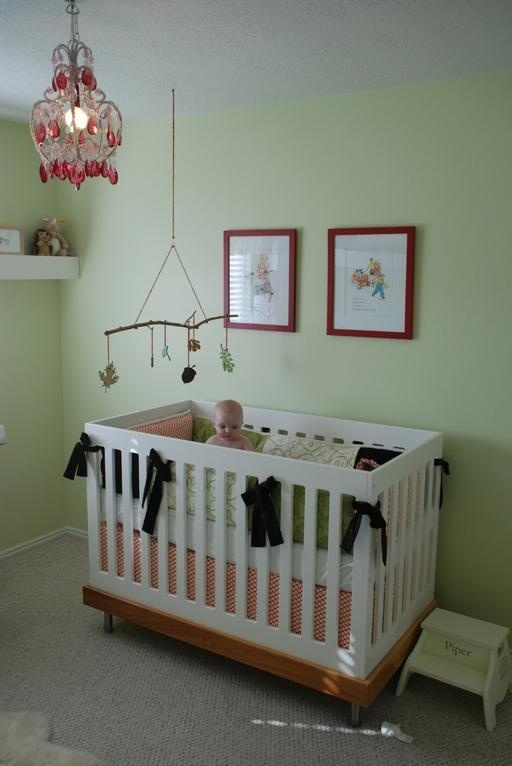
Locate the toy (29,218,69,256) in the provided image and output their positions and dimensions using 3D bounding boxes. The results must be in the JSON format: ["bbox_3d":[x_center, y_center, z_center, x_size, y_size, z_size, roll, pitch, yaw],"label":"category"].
[{"bbox_3d":[-1.124,-0.792,3.307,0.133,0.226,0.266,2,5,23],"label":"toy"}]

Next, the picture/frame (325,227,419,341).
[{"bbox_3d":[0.470,-0.404,2.394,0.393,0.521,0.020,7,12,37],"label":"picture/frame"}]

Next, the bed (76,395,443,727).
[{"bbox_3d":[0.052,0.625,2.358,1.183,0.867,0.741,4,7,41],"label":"bed"}]

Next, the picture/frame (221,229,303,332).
[{"bbox_3d":[0.039,-0.469,2.712,0.398,0.511,0.018,7,11,34],"label":"picture/frame"}]
